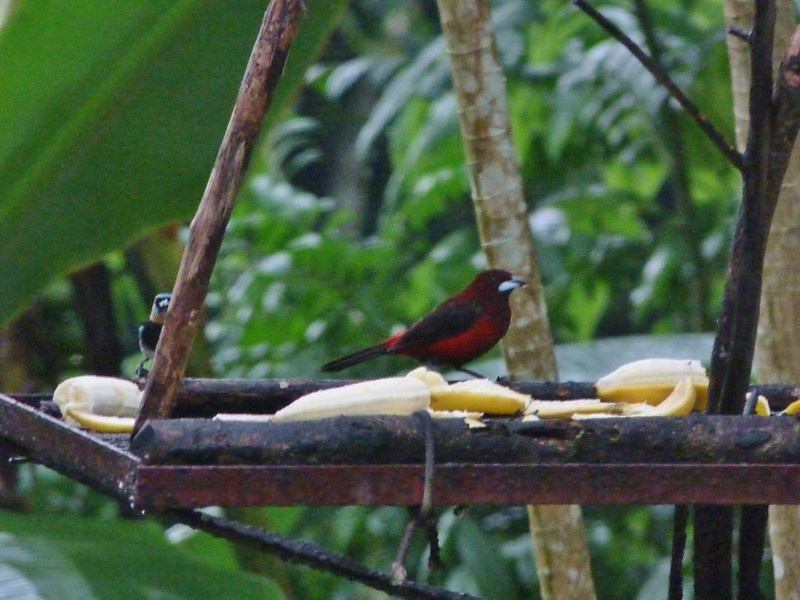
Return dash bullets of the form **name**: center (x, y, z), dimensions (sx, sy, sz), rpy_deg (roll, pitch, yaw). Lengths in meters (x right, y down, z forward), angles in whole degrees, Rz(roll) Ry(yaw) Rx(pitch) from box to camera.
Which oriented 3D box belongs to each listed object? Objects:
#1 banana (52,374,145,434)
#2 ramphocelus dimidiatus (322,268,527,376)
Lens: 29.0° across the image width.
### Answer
- **banana**: center (-1.060, 0.369, 5.446), dimensions (0.361, 0.130, 0.179), rpy_deg (7, 75, -17)
- **ramphocelus dimidiatus**: center (0.114, 0.108, 6.331), dimensions (0.801, 0.255, 0.480), rpy_deg (-1, 90, 8)
